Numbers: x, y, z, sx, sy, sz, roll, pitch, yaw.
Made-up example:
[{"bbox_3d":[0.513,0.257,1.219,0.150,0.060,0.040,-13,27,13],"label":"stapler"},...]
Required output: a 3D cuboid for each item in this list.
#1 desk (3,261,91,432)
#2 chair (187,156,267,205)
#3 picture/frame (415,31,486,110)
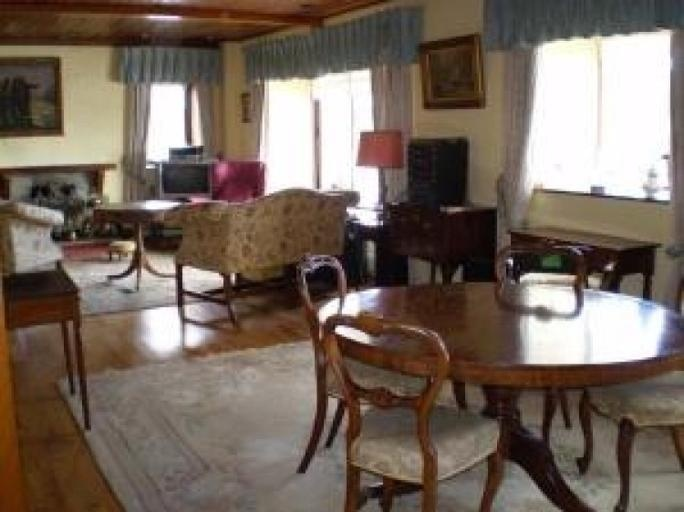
[{"bbox_3d":[-1.813,0.595,3.412,0.472,0.725,0.703,-4,16,-15],"label":"desk"},{"bbox_3d":[-1.642,-1.117,8.010,0.665,0.996,0.768,2,3,18],"label":"chair"},{"bbox_3d":[1.086,-1.815,5.379,0.076,0.706,0.754,-15,19,-35],"label":"picture/frame"}]
